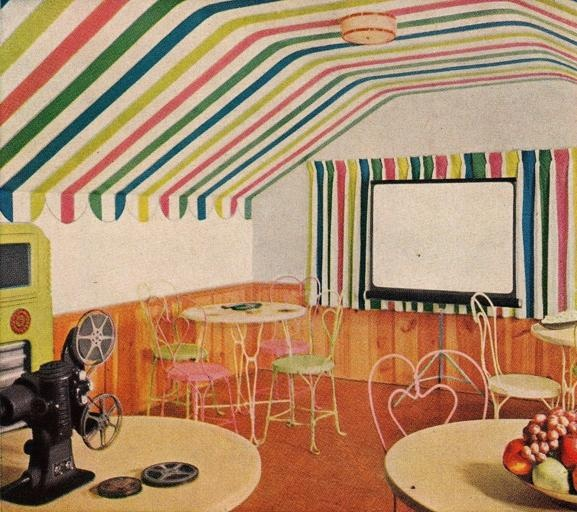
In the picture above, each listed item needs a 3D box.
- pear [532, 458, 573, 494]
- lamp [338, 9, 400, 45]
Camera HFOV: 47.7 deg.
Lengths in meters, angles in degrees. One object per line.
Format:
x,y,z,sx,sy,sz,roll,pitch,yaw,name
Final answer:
0.804,0.670,1.983,0.094,0.091,0.089,-2,4,-23,pear
0.456,-1.292,3.713,0.297,0.109,0.281,1,-4,16,lamp
